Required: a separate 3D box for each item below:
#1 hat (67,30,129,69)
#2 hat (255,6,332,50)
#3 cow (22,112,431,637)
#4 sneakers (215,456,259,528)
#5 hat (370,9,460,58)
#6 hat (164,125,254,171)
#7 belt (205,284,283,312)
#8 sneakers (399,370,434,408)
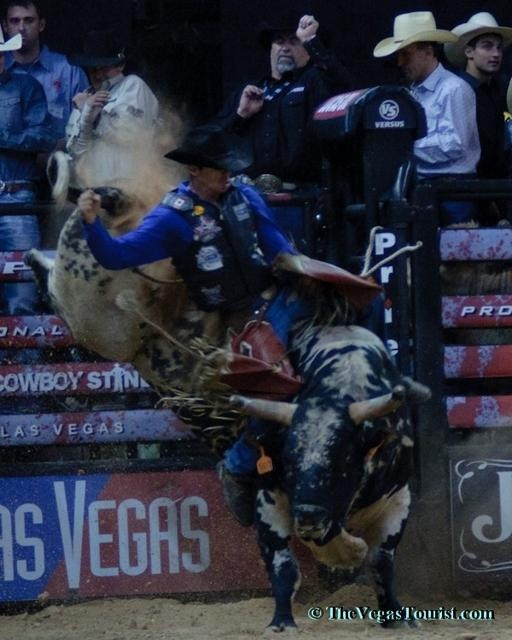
[{"bbox_3d":[-0.867,-1.513,5.765,0.334,0.113,0.276,-19,31,-34],"label":"hat"},{"bbox_3d":[0.154,-1.814,6.488,0.506,0.143,0.466,-2,-11,4],"label":"hat"},{"bbox_3d":[-0.055,0.259,4.693,1.670,2.399,1.081,-2,2,21],"label":"cow"},{"bbox_3d":[-0.080,0.798,4.750,0.135,0.326,0.145,-17,-26,-18],"label":"sneakers"},{"bbox_3d":[0.940,-1.726,6.135,0.447,0.162,0.338,-9,4,-30],"label":"hat"},{"bbox_3d":[-0.213,-0.777,4.634,0.335,0.106,0.227,8,29,13],"label":"hat"},{"bbox_3d":[-0.068,-0.085,4.761,0.230,0.042,0.152,-10,3,19],"label":"belt"},{"bbox_3d":[0.654,0.291,4.462,0.176,0.055,0.131,33,28,28],"label":"sneakers"}]
